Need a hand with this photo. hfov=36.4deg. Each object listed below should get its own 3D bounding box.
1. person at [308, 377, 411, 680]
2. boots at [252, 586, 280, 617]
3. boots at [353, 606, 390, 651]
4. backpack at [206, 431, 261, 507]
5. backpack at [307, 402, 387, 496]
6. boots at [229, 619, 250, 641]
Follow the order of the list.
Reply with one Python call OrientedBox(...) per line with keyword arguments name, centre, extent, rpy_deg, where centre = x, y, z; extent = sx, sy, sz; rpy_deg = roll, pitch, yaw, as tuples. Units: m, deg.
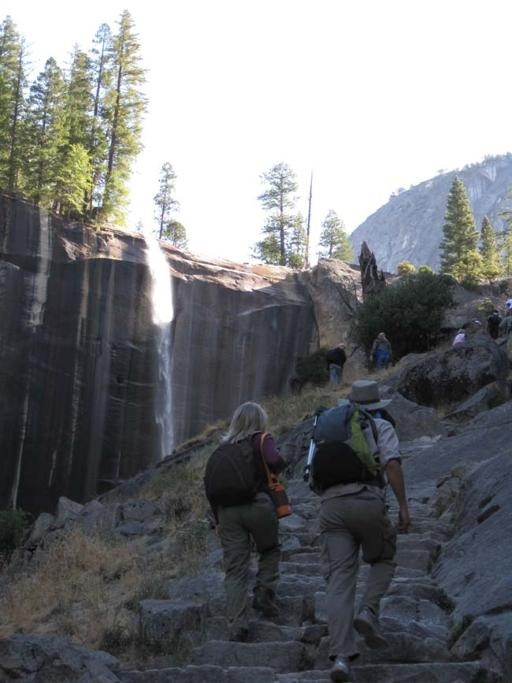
OrientedBox(name="person", centre=(0.545, 0.990, 4.409), extent=(0.547, 1.646, 1.009), rpy_deg=(-3, -10, 20))
OrientedBox(name="boots", centre=(0.057, 1.781, 5.311), extent=(0.205, 0.222, 0.136), rpy_deg=(1, -6, 11))
OrientedBox(name="boots", centre=(0.618, 1.530, 4.097), extent=(0.135, 0.220, 0.321), rpy_deg=(-4, -11, 28))
OrientedBox(name="backpack", centre=(-0.196, 0.885, 5.299), extent=(0.319, 0.443, 0.242), rpy_deg=(-10, -26, 10))
OrientedBox(name="backpack", centre=(0.525, 0.634, 4.627), extent=(0.296, 0.525, 0.441), rpy_deg=(4, -15, -41))
OrientedBox(name="boots", centre=(-0.118, 1.811, 4.919), extent=(0.139, 0.199, 0.111), rpy_deg=(-1, -12, -4))
